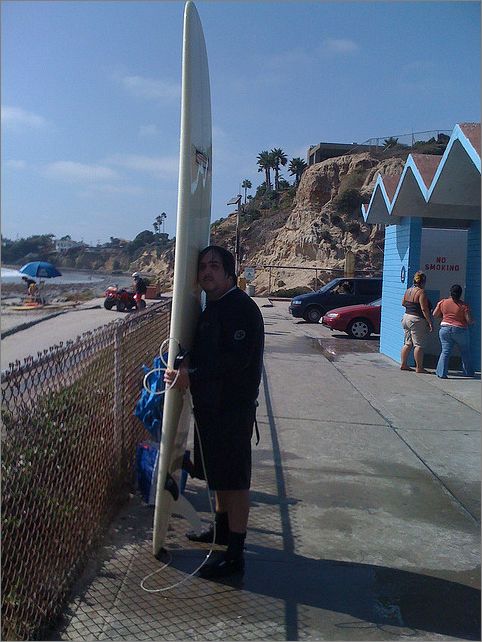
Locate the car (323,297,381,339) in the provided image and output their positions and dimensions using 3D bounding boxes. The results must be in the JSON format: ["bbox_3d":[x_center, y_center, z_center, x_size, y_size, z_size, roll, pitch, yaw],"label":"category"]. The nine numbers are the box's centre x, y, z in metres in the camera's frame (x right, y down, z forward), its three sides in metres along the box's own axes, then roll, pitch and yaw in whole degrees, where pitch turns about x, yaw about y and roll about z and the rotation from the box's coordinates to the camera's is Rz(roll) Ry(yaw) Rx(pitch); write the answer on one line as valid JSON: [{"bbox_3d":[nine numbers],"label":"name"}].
[{"bbox_3d":[3.412,-0.004,13.661,1.800,0.820,0.874,2,3,0],"label":"car"}]

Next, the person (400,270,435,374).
[{"bbox_3d":[3.402,0.033,8.648,0.463,1.385,0.645,3,3,-4],"label":"person"}]

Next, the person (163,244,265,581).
[{"bbox_3d":[-0.137,0.488,2.482,0.457,1.825,0.640,3,3,7],"label":"person"}]

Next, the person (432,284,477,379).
[{"bbox_3d":[4.033,0.200,8.423,0.673,1.343,0.817,6,4,44],"label":"person"}]

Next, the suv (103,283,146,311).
[{"bbox_3d":[-5.630,-1.118,21.496,1.821,1.276,1.146,2,2,-29],"label":"suv"}]

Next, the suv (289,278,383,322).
[{"bbox_3d":[3.601,-0.881,17.146,2.810,1.518,1.638,1,4,6],"label":"suv"}]
